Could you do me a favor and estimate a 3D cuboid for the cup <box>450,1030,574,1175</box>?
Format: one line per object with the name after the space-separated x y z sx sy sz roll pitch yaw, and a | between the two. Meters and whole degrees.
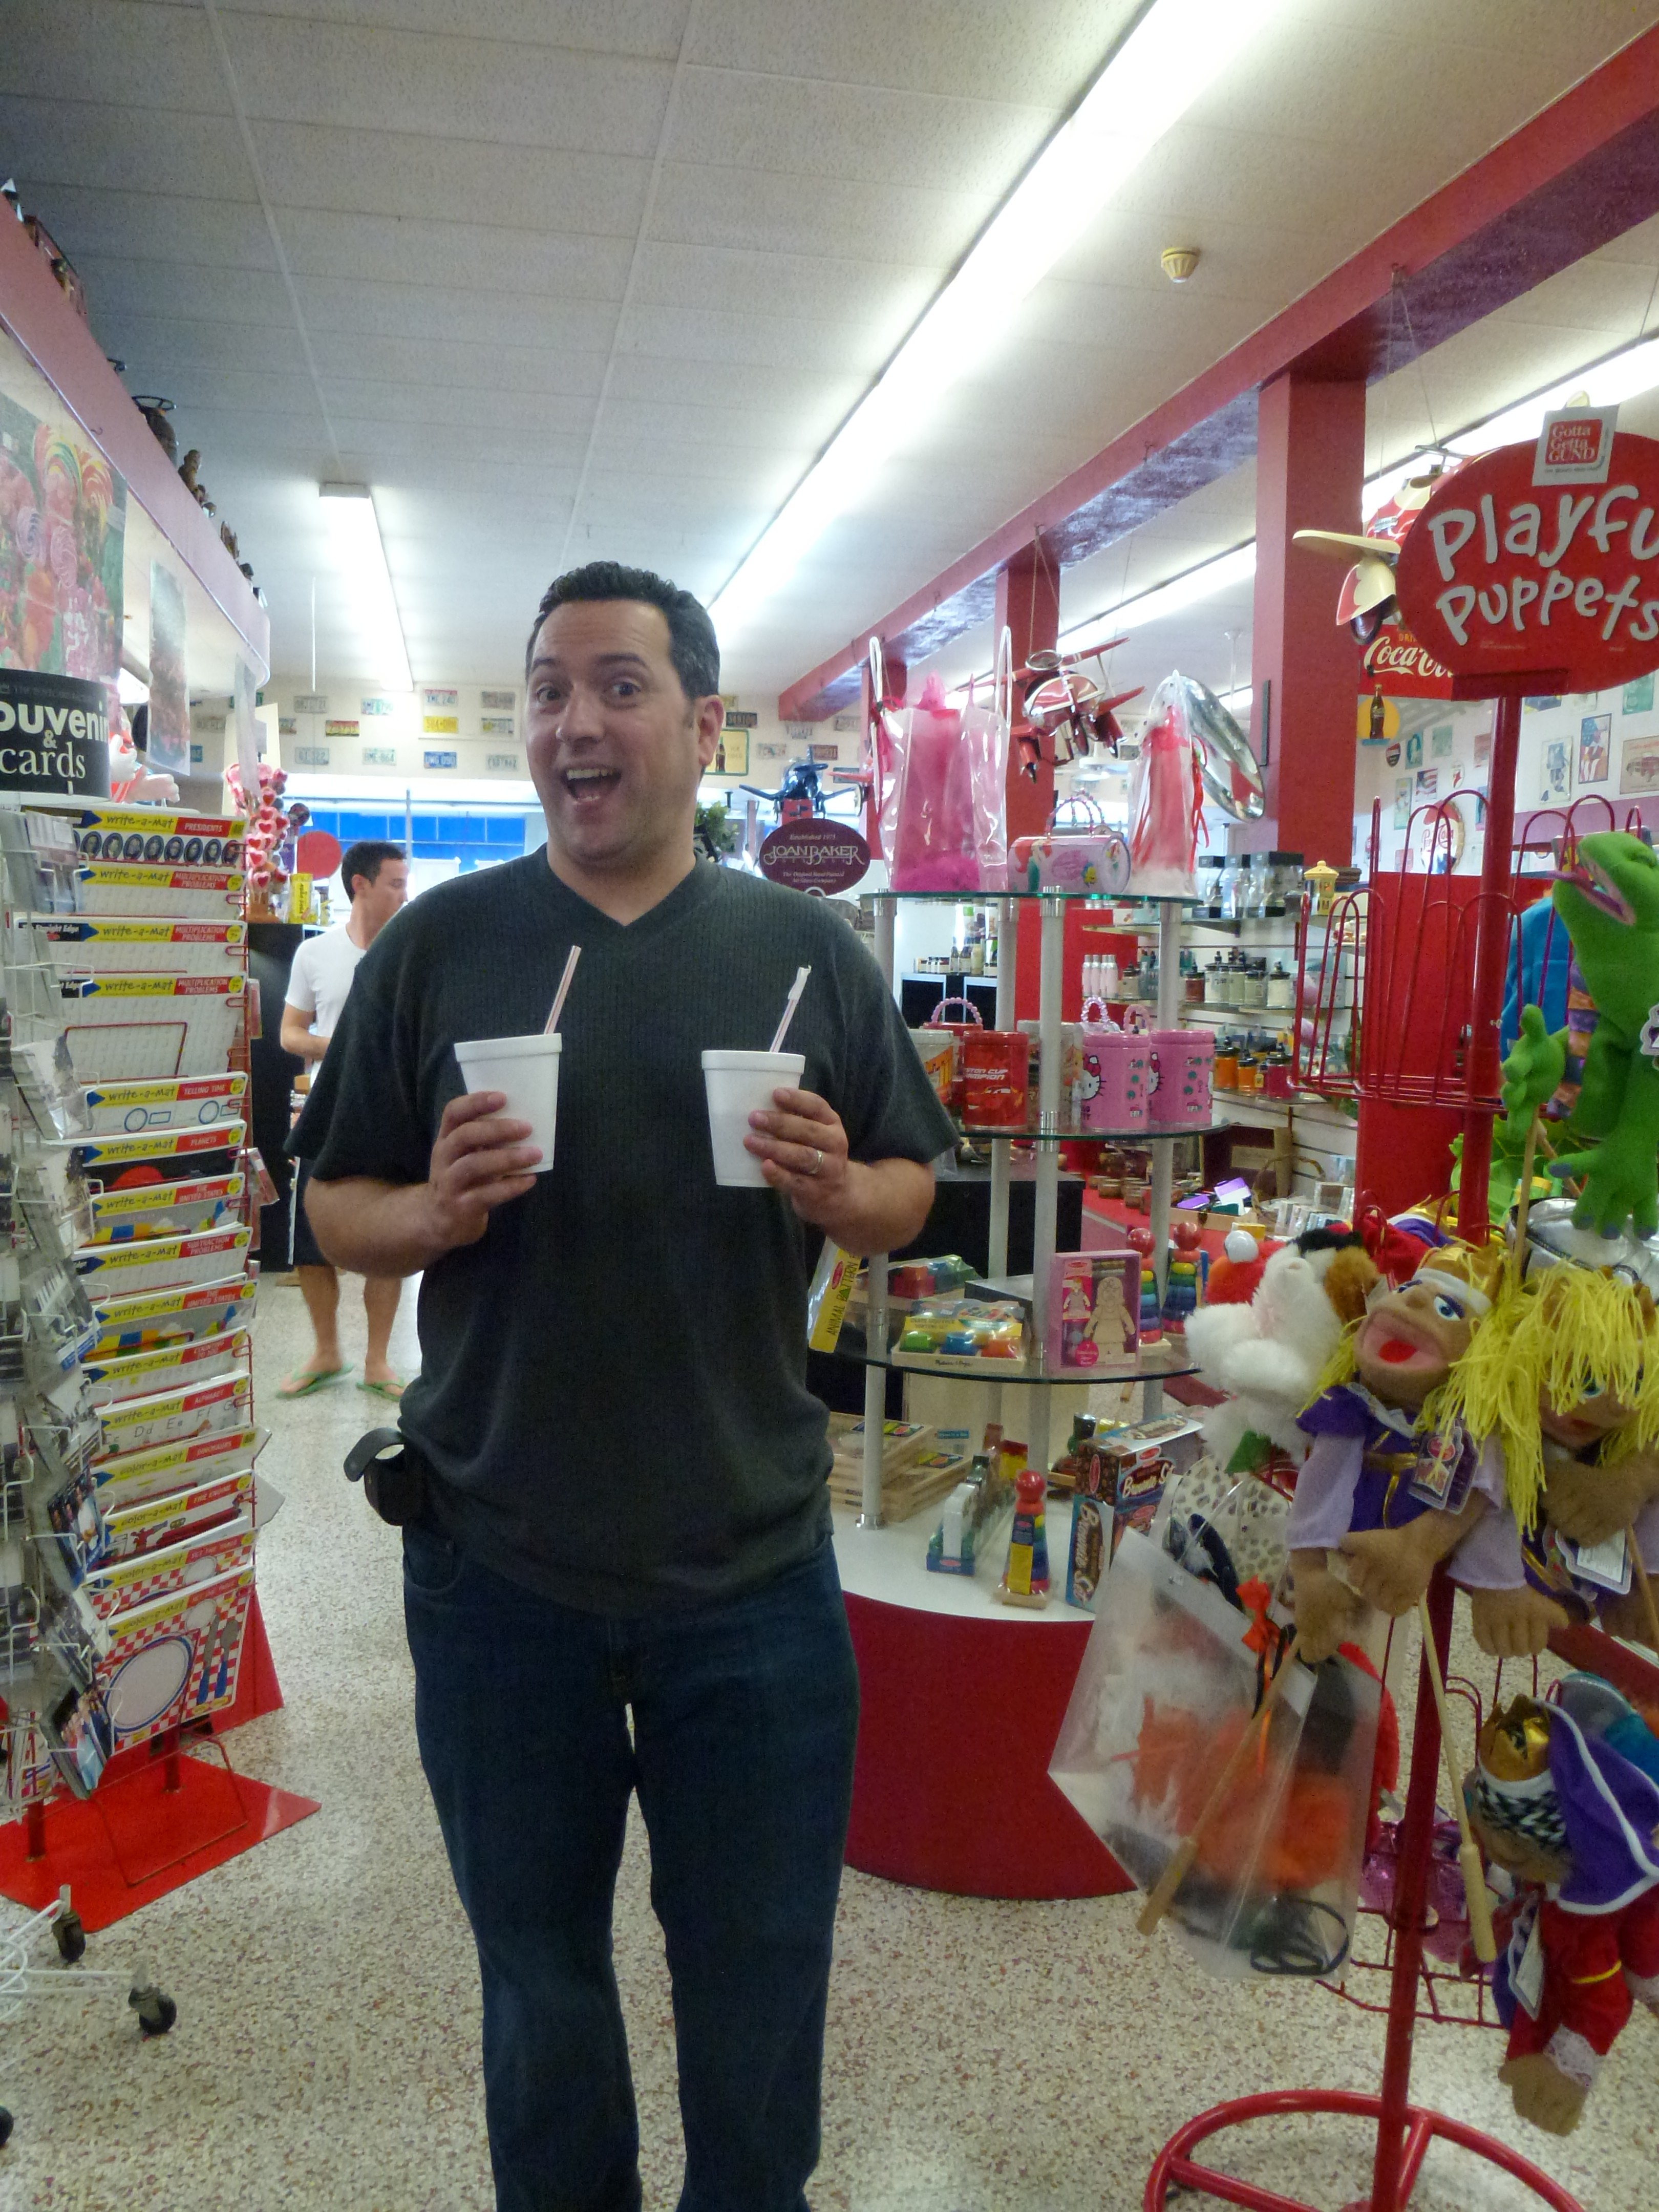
-0.203 -0.002 1.099 0.094 0.103 0.091 -2 -2 0 | cup

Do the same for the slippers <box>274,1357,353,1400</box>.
-1.646 0.894 4.944 0.063 0.086 0.204 -15 -11 18 | slippers

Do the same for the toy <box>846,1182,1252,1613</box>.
0.388 0.372 2.544 0.647 0.708 0.636 -2 5 -22 | toy

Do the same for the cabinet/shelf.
0.299 0.551 2.445 0.531 1.196 0.534 7 1 36 | cabinet/shelf

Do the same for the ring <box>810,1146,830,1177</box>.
-0.006 0.045 1.157 0.012 0.015 0.016 1 -2 -7 | ring

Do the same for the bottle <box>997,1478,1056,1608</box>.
0.301 0.641 2.341 0.078 0.181 0.212 1 1 7 | bottle

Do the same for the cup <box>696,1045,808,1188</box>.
-0.053 0.014 1.147 0.095 0.103 0.092 2 -2 0 | cup

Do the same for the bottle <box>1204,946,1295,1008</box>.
1.585 -0.469 5.803 0.244 0.149 0.242 1 1 0 | bottle
